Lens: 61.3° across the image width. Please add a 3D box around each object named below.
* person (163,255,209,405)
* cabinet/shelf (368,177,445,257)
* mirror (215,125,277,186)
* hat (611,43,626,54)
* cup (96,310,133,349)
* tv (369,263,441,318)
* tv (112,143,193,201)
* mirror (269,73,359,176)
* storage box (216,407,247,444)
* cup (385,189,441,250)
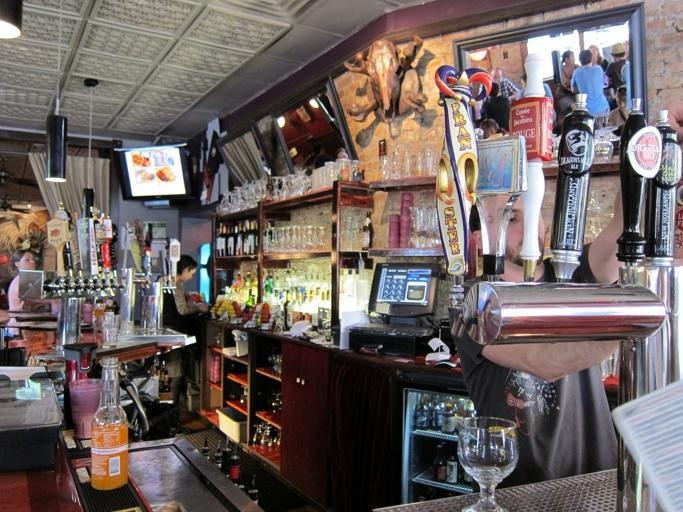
[{"bbox_3d":[-1.595,0.790,6.328,0.473,1.625,0.490,-1,25,-3],"label":"person"},{"bbox_3d":[0.405,-0.243,3.716,0.528,0.464,0.182,-1,3,21],"label":"cabinet/shelf"},{"bbox_3d":[-1.012,-1.032,5.980,0.149,0.602,0.576,-25,2,-43],"label":"mirror"},{"bbox_3d":[1.388,-1.041,2.904,0.052,0.054,0.051,-39,-39,-6],"label":"hat"},{"bbox_3d":[-1.202,0.404,3.107,0.195,0.229,0.204,-1,-6,0],"label":"cup"},{"bbox_3d":[0.405,0.224,3.563,0.325,0.286,0.124,-1,-36,32],"label":"tv"},{"bbox_3d":[-2.424,-1.051,7.580,1.030,0.797,0.125,-1,11,18],"label":"tv"},{"bbox_3d":[-0.300,-1.023,4.891,0.087,0.770,1.091,-36,28,-24],"label":"mirror"},{"bbox_3d":[-0.945,1.504,5.040,0.179,0.113,0.280,3,5,-28],"label":"storage box"},{"bbox_3d":[0.422,-0.224,3.732,0.317,0.396,0.366,-1,-6,0],"label":"cup"}]
